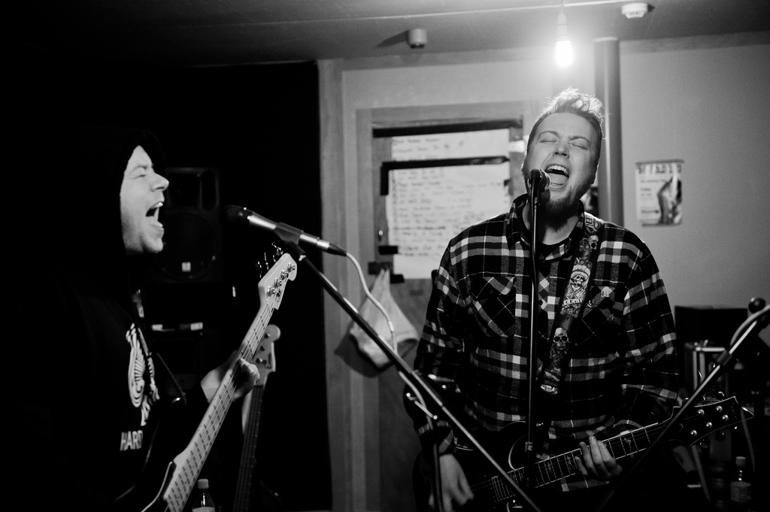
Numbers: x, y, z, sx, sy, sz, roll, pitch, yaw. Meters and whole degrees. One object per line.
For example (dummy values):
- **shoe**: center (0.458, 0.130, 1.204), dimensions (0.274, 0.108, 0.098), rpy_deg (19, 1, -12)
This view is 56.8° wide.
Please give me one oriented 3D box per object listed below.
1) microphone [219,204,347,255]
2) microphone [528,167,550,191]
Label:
- **microphone**: center (-0.358, -0.093, 2.548), dimensions (0.462, 0.172, 0.156), rpy_deg (3, 7, 38)
- **microphone**: center (0.546, -0.269, 2.496), dimensions (0.055, 0.071, 0.157), rpy_deg (0, 3, 20)
